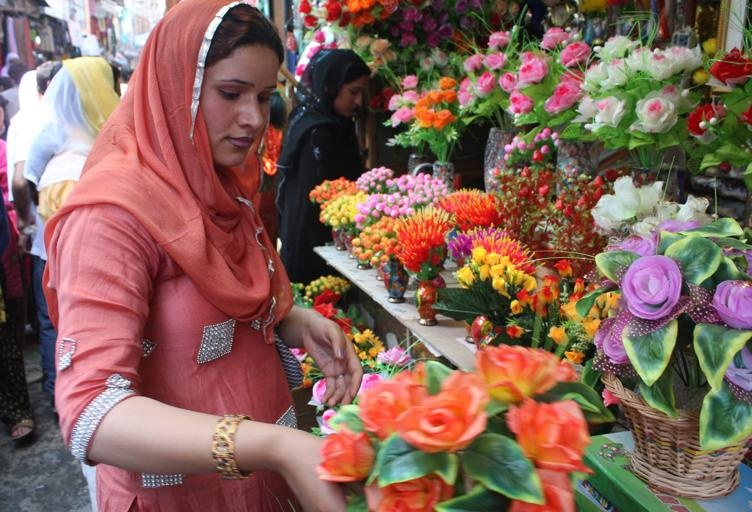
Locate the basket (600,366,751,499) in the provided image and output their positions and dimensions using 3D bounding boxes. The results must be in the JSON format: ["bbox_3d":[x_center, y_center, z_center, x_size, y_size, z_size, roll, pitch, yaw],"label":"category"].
[{"bbox_3d":[0.636,0.414,1.254,0.258,0.203,0.290,-8,18,-17],"label":"basket"}]
